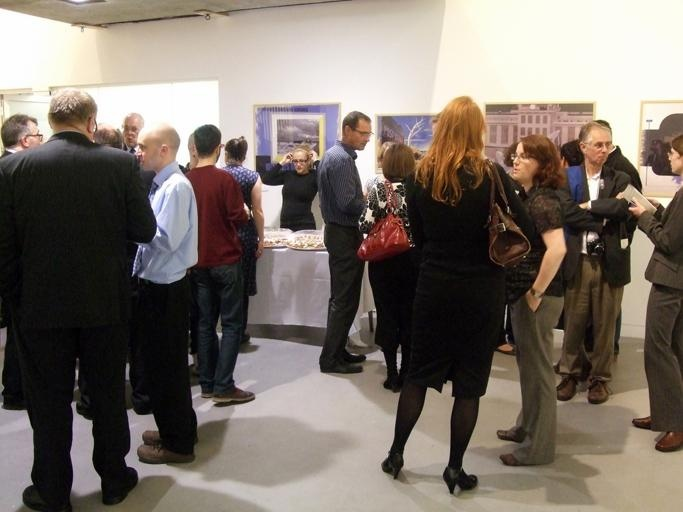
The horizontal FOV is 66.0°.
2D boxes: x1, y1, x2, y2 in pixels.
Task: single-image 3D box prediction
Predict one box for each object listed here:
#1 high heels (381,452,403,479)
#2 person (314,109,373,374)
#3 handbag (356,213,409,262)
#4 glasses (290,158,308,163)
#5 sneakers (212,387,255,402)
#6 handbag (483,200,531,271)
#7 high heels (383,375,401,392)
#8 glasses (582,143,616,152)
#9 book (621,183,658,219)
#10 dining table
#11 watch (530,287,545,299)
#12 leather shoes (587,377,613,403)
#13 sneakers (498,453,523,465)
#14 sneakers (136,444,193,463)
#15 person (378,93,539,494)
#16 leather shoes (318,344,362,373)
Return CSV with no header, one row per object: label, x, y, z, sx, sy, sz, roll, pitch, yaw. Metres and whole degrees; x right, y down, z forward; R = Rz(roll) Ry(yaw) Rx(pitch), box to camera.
high heels,0.288,1.176,2.966,0.069,0.131,0.209,0,-1,-9
person,0.018,-0.089,4.249,0.412,2.098,0.373,0,12,-2
handbag,0.296,-0.126,3.780,0.153,0.346,0.359,25,-32,-36
glasses,-0.453,-1.030,5.694,0.160,0.038,0.092,0,12,-3
sneakers,-0.774,1.003,3.804,0.300,0.134,0.115,-1,1,-19
handbag,0.819,-0.103,2.606,0.198,0.302,0.123,-22,-5,23
high heels,0.392,0.974,4.005,0.062,0.128,0.173,4,-10,-25
glasses,1.893,-0.807,3.944,0.137,0.045,0.146,0,5,3
book,2.027,-0.371,3.557,0.236,0.059,0.236,43,10,2
dining table,-0.253,0.307,5.364,1.635,0.745,1.592,-4,6,-37
watch,1.071,0.200,2.864,0.059,0.025,0.057,31,-4,-21
leather shoes,1.964,1.026,3.975,0.101,0.165,0.276,-5,-10,29
sneakers,1.000,1.209,3.101,0.125,0.053,0.051,16,45,21
sneakers,-1.053,1.175,3.137,0.311,0.120,0.124,8,3,-7
person,0.584,0.240,2.758,0.670,2.092,0.289,5,12,20
leather shoes,-0.008,0.860,4.439,0.430,0.306,0.153,-5,12,-4
